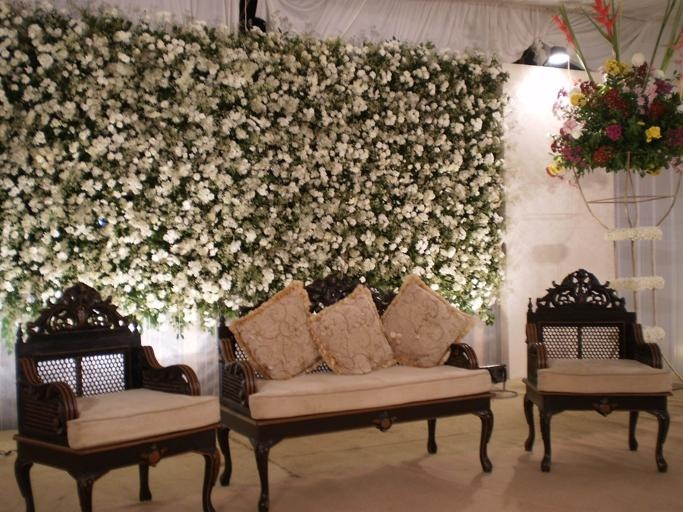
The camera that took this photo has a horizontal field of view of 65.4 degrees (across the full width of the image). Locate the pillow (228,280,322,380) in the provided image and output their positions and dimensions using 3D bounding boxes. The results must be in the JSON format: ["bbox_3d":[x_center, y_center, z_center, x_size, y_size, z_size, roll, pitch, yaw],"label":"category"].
[{"bbox_3d":[-0.418,0.538,3.725,0.566,0.595,0.137,-30,0,-30],"label":"pillow"}]

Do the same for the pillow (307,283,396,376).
[{"bbox_3d":[0.105,0.530,3.747,0.510,0.558,0.141,-21,-1,-33],"label":"pillow"}]
